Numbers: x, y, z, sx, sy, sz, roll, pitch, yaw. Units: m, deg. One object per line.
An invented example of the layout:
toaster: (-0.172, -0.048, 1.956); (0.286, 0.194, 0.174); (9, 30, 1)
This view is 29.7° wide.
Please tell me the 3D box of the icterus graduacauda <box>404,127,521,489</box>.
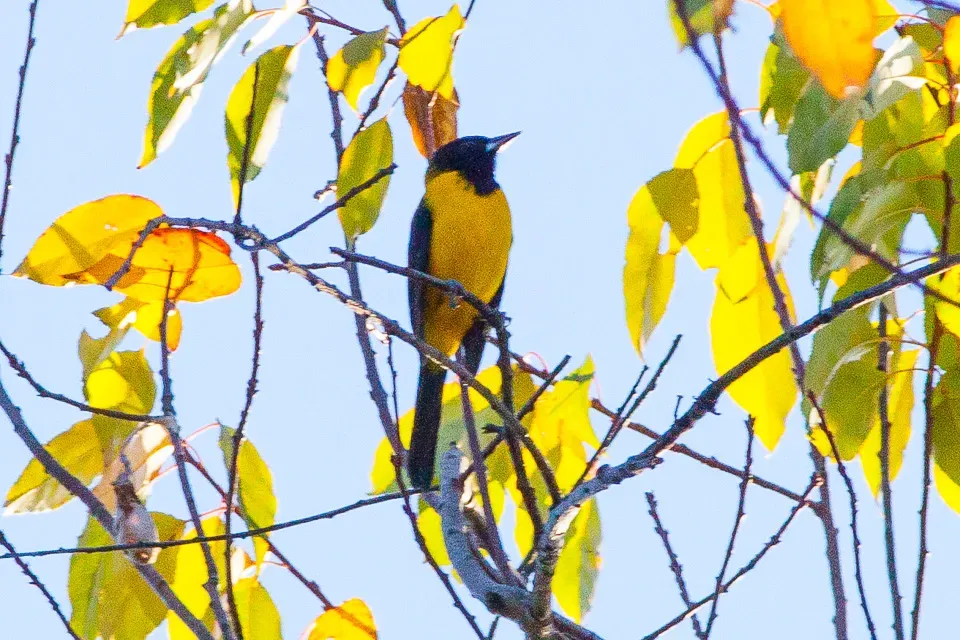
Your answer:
icterus graduacauda: (-0.128, -0.070, 7.237); (0.383, 0.518, 1.449); (7, -95, -34)
